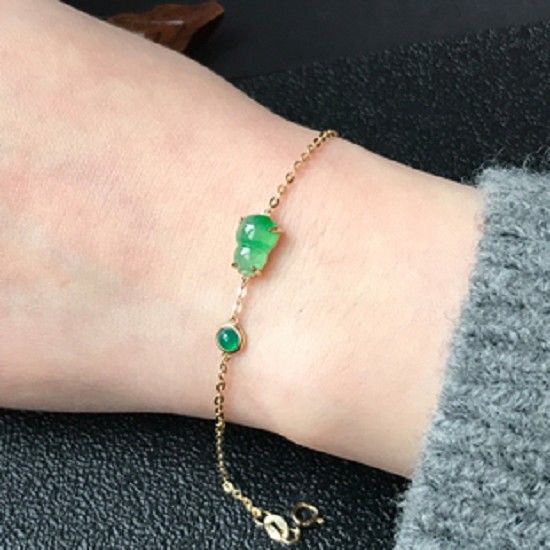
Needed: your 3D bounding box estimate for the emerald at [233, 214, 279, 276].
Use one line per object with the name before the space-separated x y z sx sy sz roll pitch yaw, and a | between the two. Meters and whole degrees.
emerald | -0.026 -0.032 0.817 0.047 0.074 0.049 11 34 -4
